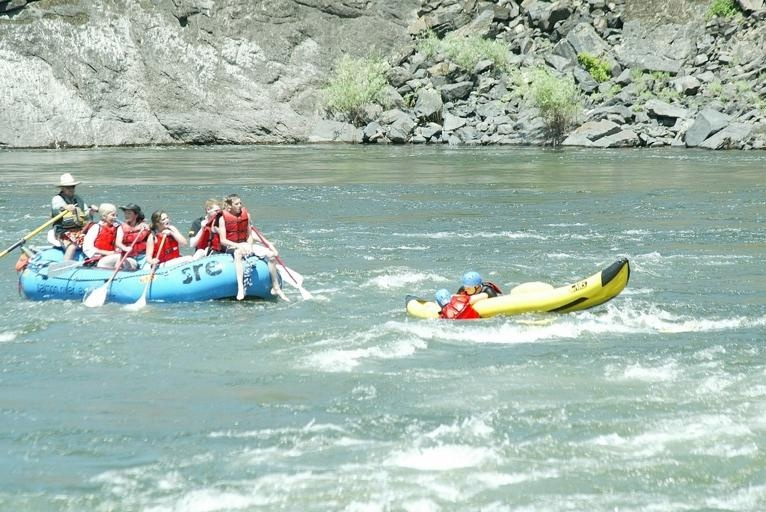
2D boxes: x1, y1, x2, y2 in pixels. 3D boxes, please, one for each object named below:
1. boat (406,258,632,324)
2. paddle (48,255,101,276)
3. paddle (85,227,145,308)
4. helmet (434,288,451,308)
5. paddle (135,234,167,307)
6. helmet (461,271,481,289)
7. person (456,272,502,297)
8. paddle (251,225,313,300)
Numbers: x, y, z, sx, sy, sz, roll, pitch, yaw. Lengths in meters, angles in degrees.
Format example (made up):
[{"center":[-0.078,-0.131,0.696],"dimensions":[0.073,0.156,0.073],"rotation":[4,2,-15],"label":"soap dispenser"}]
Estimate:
[{"center":[2.722,0.895,22.381],"dimensions":[5.325,0.892,1.574],"rotation":[-7,-4,11],"label":"boat"},{"center":[-7.337,0.247,23.773],"dimensions":[1.779,0.176,0.372],"rotation":[-8,40,-22],"label":"paddle"},{"center":[-6.053,0.166,23.498],"dimensions":[0.474,2.349,0.268],"rotation":[18,-31,26],"label":"paddle"},{"center":[1.388,0.942,22.569],"dimensions":[0.321,0.318,0.380],"rotation":[-8,-18,-11],"label":"helmet"},{"center":[-5.224,0.337,23.383],"dimensions":[0.366,1.891,0.160],"rotation":[13,-33,18],"label":"paddle"},{"center":[1.944,0.541,22.376],"dimensions":[0.432,0.278,0.309],"rotation":[4,17,-21],"label":"helmet"},{"center":[2.135,0.653,22.448],"dimensions":[0.876,0.415,0.520],"rotation":[0,-2,-31],"label":"person"},{"center":[-2.730,-0.158,24.972],"dimensions":[0.214,0.609,4.164],"rotation":[40,4,-33],"label":"paddle"}]
